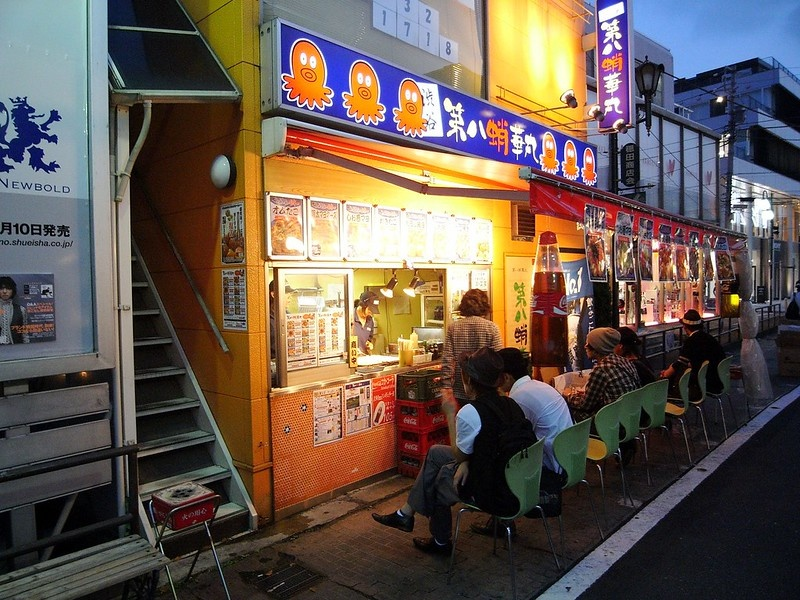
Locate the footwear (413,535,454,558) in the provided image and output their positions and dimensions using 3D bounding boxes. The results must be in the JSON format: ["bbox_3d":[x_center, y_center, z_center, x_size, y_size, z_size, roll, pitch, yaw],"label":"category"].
[{"bbox_3d":[0.318,2.367,5.869,0.393,0.175,0.147,7,3,35],"label":"footwear"}]

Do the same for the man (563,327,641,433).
[{"bbox_3d":[2.377,0.905,7.185,0.913,1.140,0.767,4,13,28],"label":"man"}]

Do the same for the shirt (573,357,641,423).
[{"bbox_3d":[2.430,1.061,7.186,0.748,0.811,0.669,-1,4,45],"label":"shirt"}]

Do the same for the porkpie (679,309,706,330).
[{"bbox_3d":[5.260,0.368,10.775,0.410,0.200,0.505,5,30,27],"label":"porkpie"}]

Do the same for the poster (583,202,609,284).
[{"bbox_3d":[2.441,-0.715,7.491,0.047,1.124,0.989,0,3,35],"label":"poster"}]

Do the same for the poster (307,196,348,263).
[{"bbox_3d":[-0.856,-0.787,6.823,0.075,1.031,0.719,2,3,40],"label":"poster"}]

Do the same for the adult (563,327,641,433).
[{"bbox_3d":[2.371,0.881,7.226,0.913,1.170,0.856,-1,14,6],"label":"adult"}]

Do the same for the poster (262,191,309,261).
[{"bbox_3d":[-1.265,-0.782,6.469,0.131,1.051,0.727,-1,1,41],"label":"poster"}]

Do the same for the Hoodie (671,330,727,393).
[{"bbox_3d":[4.516,0.965,9.092,0.969,1.147,0.624,0,2,-30],"label":"Hoodie"}]

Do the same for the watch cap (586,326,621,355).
[{"bbox_3d":[2.448,0.477,7.184,0.349,0.303,0.268,-36,-14,36],"label":"watch cap"}]

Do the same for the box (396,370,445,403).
[{"bbox_3d":[0.251,1.020,7.471,0.397,0.266,0.410,2,6,39],"label":"box"}]

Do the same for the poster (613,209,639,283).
[{"bbox_3d":[3.156,-0.768,8.403,0.075,1.118,0.927,1,6,40],"label":"poster"}]

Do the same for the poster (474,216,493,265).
[{"bbox_3d":[1.207,-0.855,8.814,0.094,0.981,0.689,0,1,33],"label":"poster"}]

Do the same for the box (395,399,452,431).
[{"bbox_3d":[0.220,1.414,7.529,0.411,0.275,0.422,4,7,43],"label":"box"}]

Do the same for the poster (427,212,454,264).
[{"bbox_3d":[0.531,-0.830,8.169,0.071,0.964,0.679,-1,1,35],"label":"poster"}]

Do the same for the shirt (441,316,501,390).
[{"bbox_3d":[0.902,0.666,7.486,0.761,1.101,0.357,-1,13,1],"label":"shirt"}]

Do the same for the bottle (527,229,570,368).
[{"bbox_3d":[1.637,0.002,6.620,0.398,1.481,0.234,-2,1,9],"label":"bottle"}]

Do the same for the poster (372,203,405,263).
[{"bbox_3d":[-0.167,-0.820,7.507,0.070,0.932,0.742,-2,-1,32],"label":"poster"}]
